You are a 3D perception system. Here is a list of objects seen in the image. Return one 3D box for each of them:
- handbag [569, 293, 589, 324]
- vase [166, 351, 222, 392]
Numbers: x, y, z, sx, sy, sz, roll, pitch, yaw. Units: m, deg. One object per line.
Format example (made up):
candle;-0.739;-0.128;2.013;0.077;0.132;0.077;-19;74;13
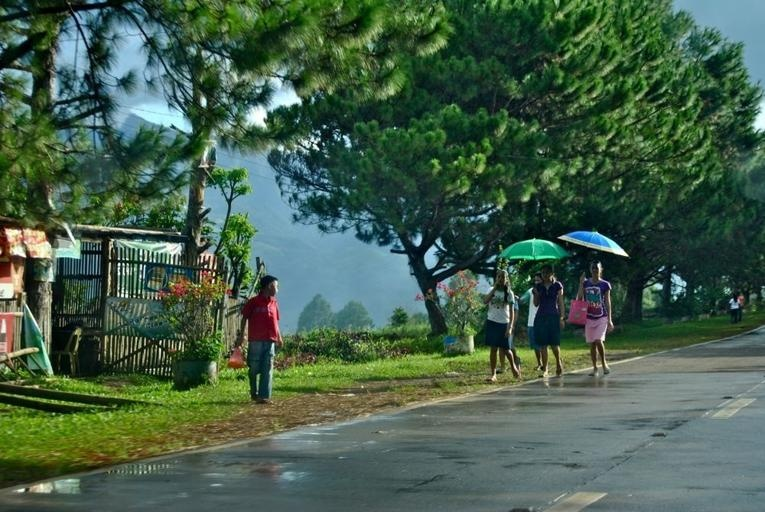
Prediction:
handbag;4.315;1.207;22.307;0.479;0.596;0.338;-1;-7;-7
vase;-4.113;2.666;21.886;0.977;0.752;0.975;7;-23;-39
